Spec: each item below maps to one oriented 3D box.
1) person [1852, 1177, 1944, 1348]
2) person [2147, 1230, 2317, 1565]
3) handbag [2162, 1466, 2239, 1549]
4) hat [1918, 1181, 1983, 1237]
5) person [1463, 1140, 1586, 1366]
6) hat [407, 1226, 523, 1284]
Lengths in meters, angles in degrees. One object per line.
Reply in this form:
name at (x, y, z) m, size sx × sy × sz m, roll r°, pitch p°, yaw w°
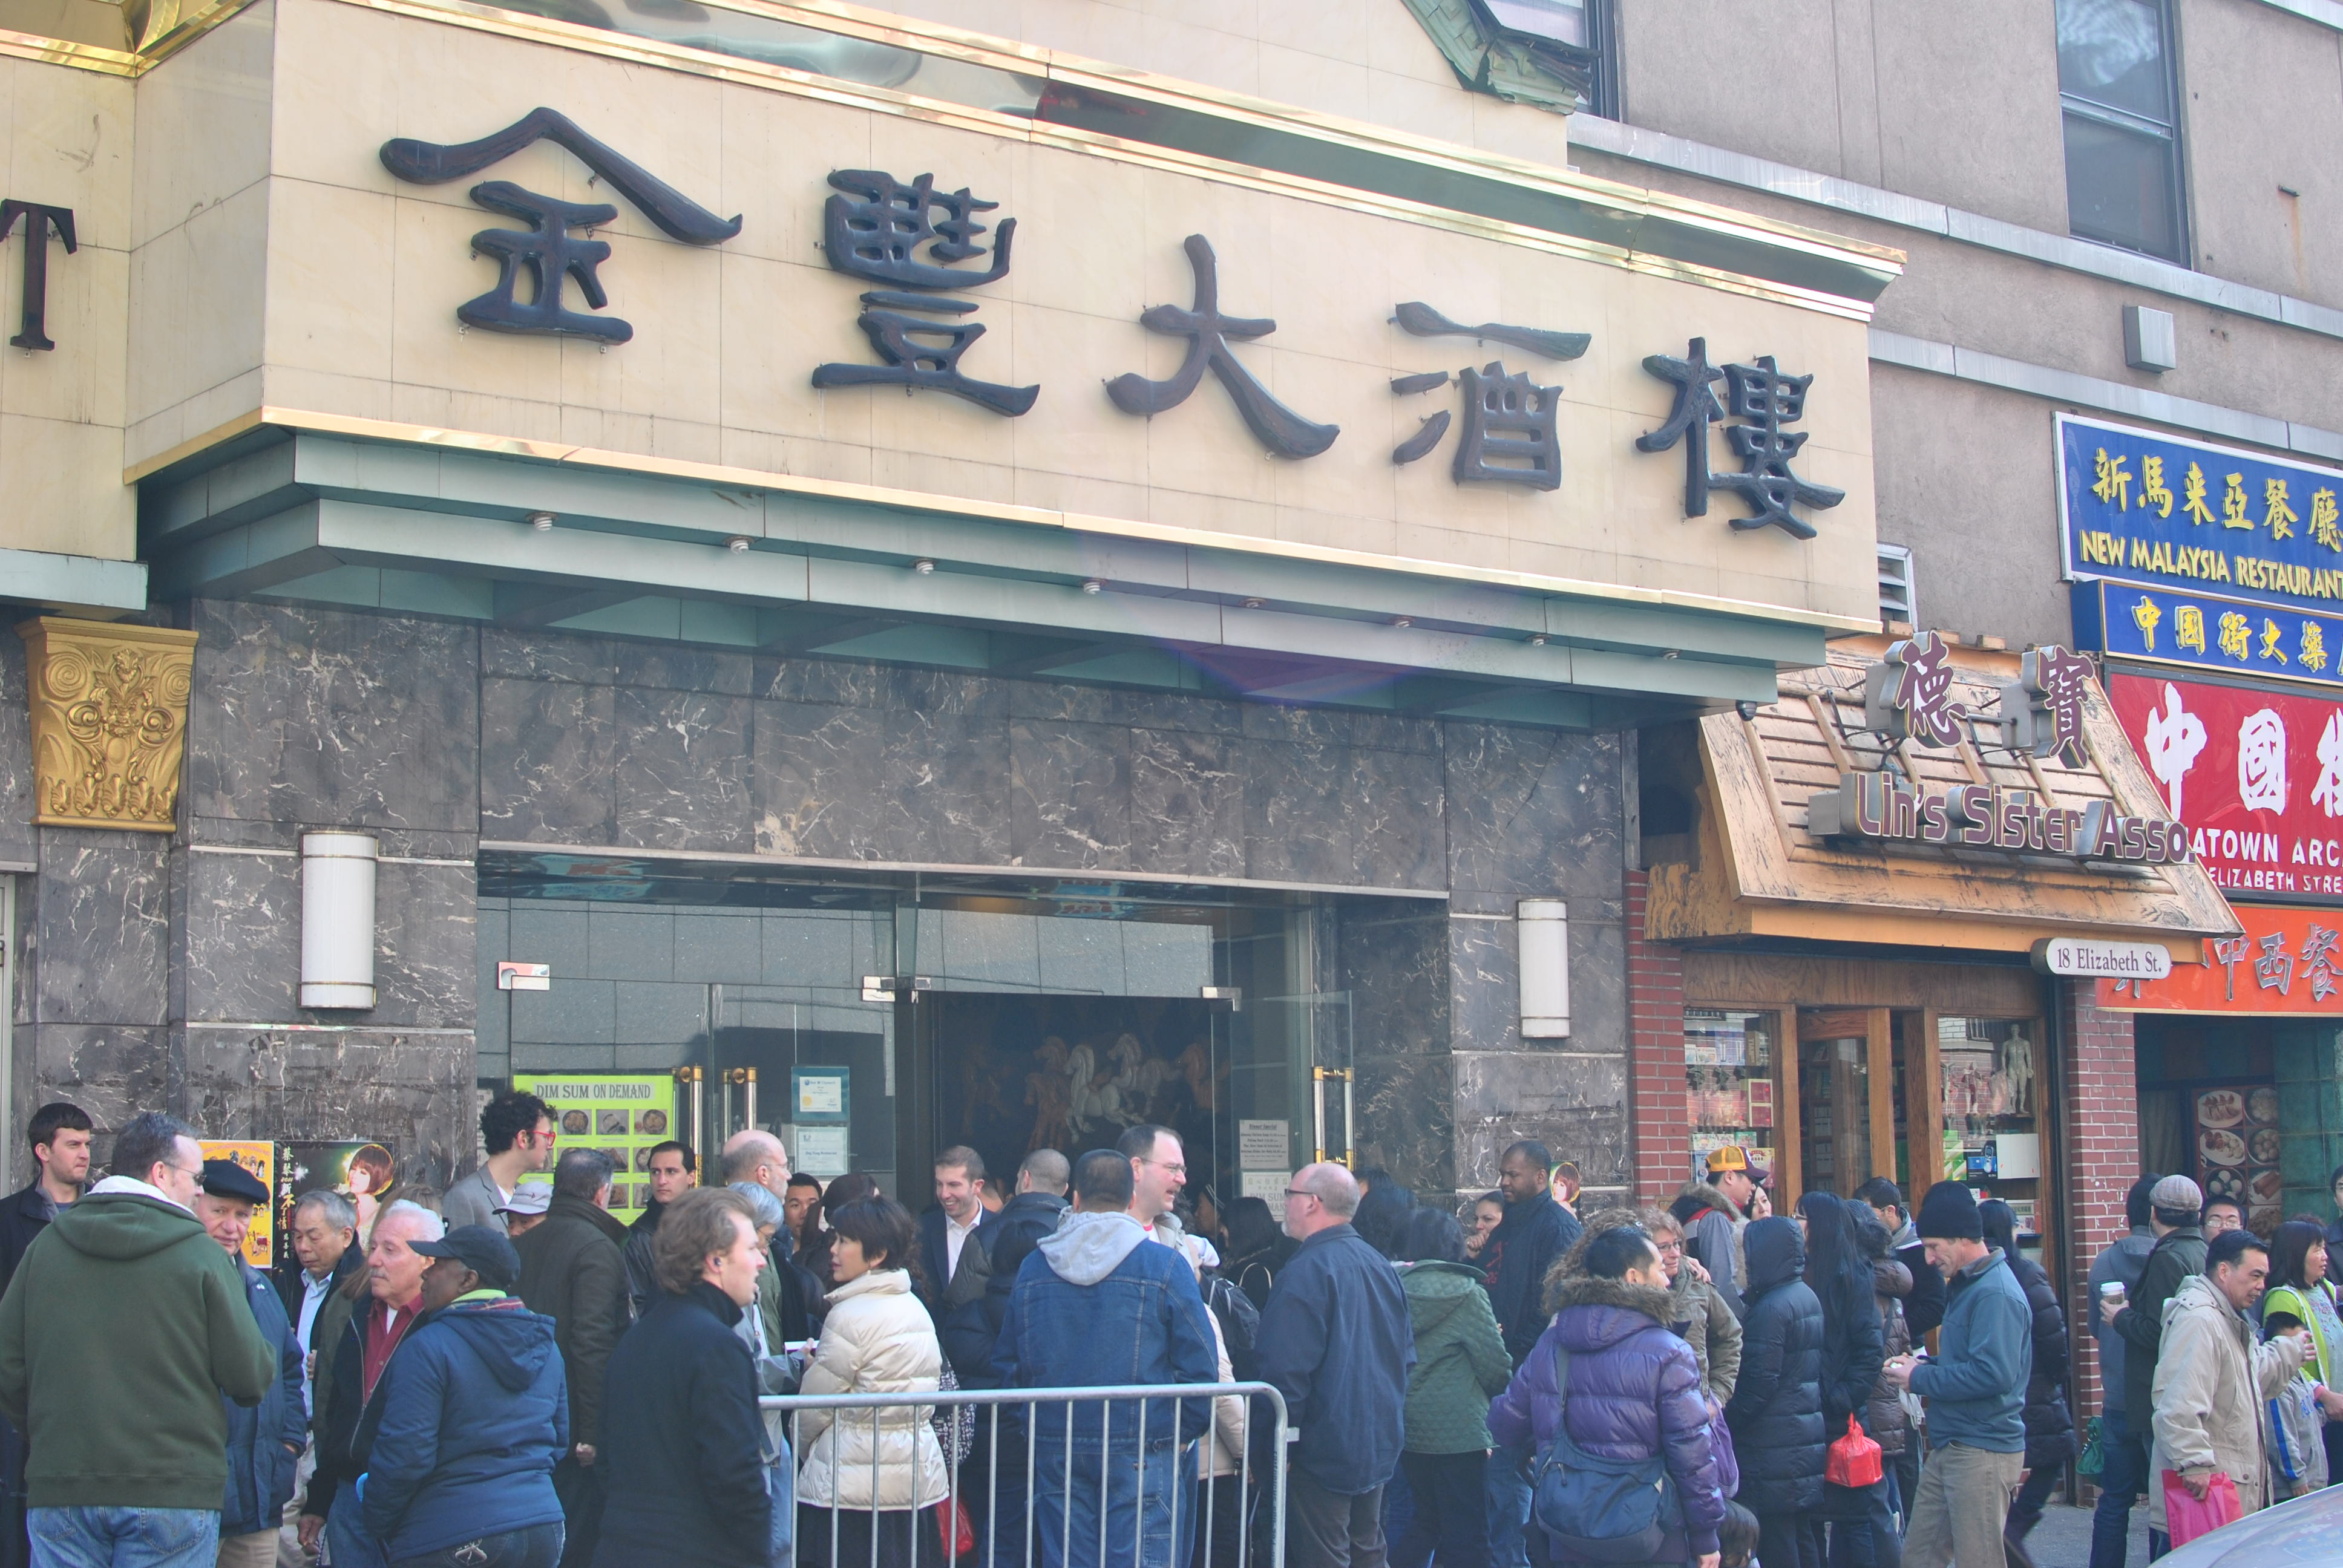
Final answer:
person at (4.666, 2.971, 27.696) m, size 0.415 × 1.069 × 0.810 m, roll -15°, pitch 5°, yaw 8°
person at (5.991, 3.399, 25.211) m, size 0.589 × 1.784 × 1.393 m, roll -6°, pitch -13°, yaw 24°
handbag at (5.780, 3.988, 24.749) m, size 0.518 × 0.487 × 0.201 m, roll 6°, pitch -8°, yaw -25°
hat at (4.519, 2.405, 25.358) m, size 0.333 × 0.294 × 0.291 m, roll -1°, pitch -7°, yaw 11°
person at (2.116, 2.833, 26.437) m, size 0.570 × 1.595 × 0.739 m, roll 16°, pitch 27°, yaw 25°
hat at (-3.542, 2.343, 22.396) m, size 0.416 × 0.206 × 0.265 m, roll 16°, pitch -4°, yaw 4°
